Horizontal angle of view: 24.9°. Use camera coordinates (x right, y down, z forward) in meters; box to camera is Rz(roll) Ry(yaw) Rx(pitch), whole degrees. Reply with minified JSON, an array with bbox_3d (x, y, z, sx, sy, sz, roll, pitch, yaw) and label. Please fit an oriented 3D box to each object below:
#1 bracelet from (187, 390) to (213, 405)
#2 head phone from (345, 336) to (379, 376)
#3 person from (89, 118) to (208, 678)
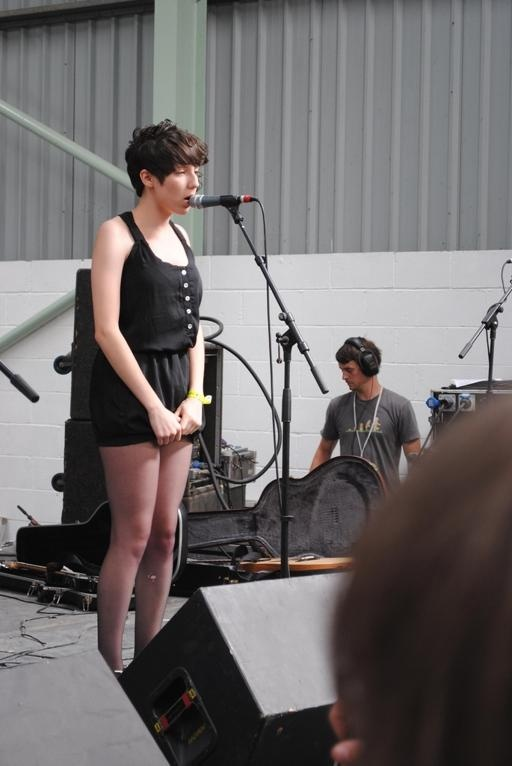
[{"bbox_3d":[-0.111,0.018,2.207,0.040,0.021,0.030,21,-6,47],"label":"bracelet"},{"bbox_3d":[0.323,-0.081,3.626,0.050,0.111,0.116,-33,15,-14],"label":"head phone"},{"bbox_3d":[-0.195,0.041,2.157,0.195,1.032,0.248,3,3,34],"label":"person"}]
